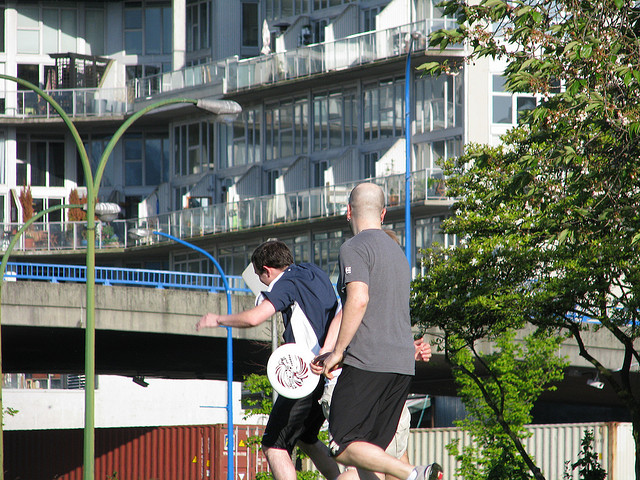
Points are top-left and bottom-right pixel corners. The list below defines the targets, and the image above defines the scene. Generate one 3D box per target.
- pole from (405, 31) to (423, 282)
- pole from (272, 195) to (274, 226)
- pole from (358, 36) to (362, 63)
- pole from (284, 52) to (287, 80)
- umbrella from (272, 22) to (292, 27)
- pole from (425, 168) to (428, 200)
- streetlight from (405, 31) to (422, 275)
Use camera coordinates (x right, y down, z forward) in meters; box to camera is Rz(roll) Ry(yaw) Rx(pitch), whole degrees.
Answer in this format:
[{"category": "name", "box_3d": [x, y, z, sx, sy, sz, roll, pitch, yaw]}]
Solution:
[{"category": "pole", "box_3d": [3.724, -3.045, 77.700, 0.657, 10.070, 0.520, -2, 0, 26]}, {"category": "pole", "box_3d": [-1.985, -1.210, 84.025, 0.069, 1.247, 0.223, -1, -1, -1]}, {"category": "pole", "box_3d": [1.699, -7.854, 82.697, 0.146, 1.159, 0.529, -1, -2, 0]}, {"category": "pole", "box_3d": [-1.471, -7.337, 84.789, 0.106, 1.155, 0.306, -1, -1, -2]}, {"category": "umbrella", "box_3d": [-1.723, -9.383, 87.620, 1.008, 0.205, 0.284, -3, -3, 42]}, {"category": "pole", "box_3d": [4.297, -2.181, 79.615, 0.103, 1.203, 0.132, -1, -1, 4]}, {"category": "streetlight", "box_3d": [3.709, -3.196, 78.156, 0.640, 9.880, 0.516, -2, 0, 25]}]
